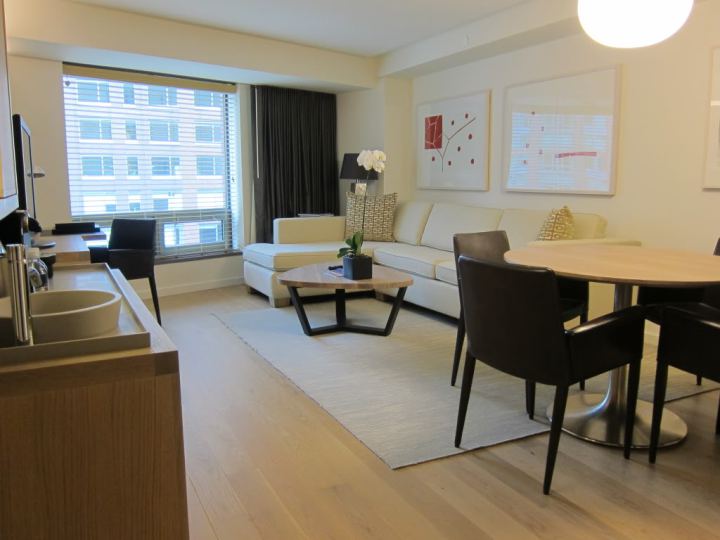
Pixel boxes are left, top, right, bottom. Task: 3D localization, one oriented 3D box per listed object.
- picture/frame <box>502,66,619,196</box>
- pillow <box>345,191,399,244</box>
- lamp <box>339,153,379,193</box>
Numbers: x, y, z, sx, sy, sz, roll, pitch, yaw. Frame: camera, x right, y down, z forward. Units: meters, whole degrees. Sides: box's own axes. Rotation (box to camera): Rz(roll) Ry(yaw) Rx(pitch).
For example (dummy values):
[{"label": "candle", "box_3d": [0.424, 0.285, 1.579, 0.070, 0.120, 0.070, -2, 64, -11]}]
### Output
[{"label": "picture/frame", "box_3d": [1.765, -1.213, 4.645, 0.118, 1.215, 1.150, -4, 7, -41]}, {"label": "pillow", "box_3d": [0.127, -0.552, 5.774, 0.651, 0.691, 0.243, 2, -2, 9]}, {"label": "lamp", "box_3d": [-0.003, -1.147, 6.323, 0.423, 0.542, 0.417, 3, 11, 9]}]
